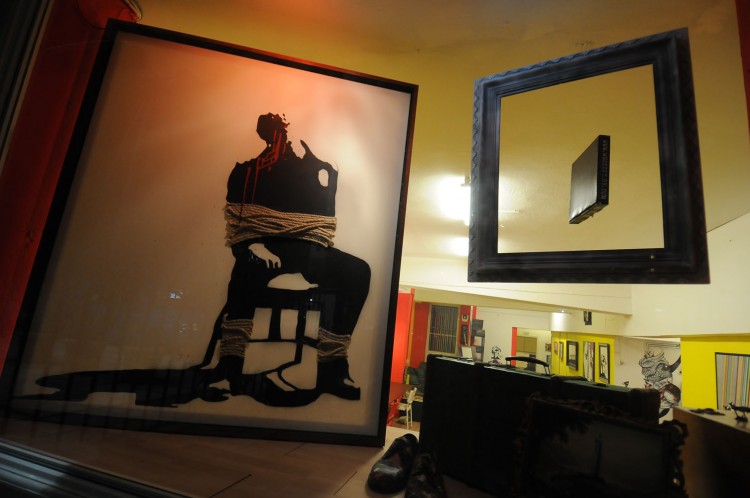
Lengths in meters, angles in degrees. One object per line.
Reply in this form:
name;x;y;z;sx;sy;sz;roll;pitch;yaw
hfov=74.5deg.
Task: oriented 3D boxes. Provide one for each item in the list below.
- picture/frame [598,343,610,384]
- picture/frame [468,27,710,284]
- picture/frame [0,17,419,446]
picture/frame;0.631;0.315;1.359;0.030;0.108;0.062;0;-11;25
picture/frame;0.660;-0.252;1.481;0.807;0.853;0.090;-2;-6;24
picture/frame;-0.620;-0.005;1.728;1.354;1.494;0.056;9;-13;-2
